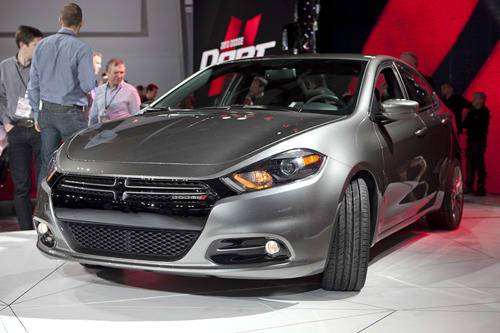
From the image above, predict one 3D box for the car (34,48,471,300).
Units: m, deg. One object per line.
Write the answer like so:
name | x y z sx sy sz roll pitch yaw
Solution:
car | 0.562 -0.122 3.026 2.015 1.016 3.257 -2 -2 37
